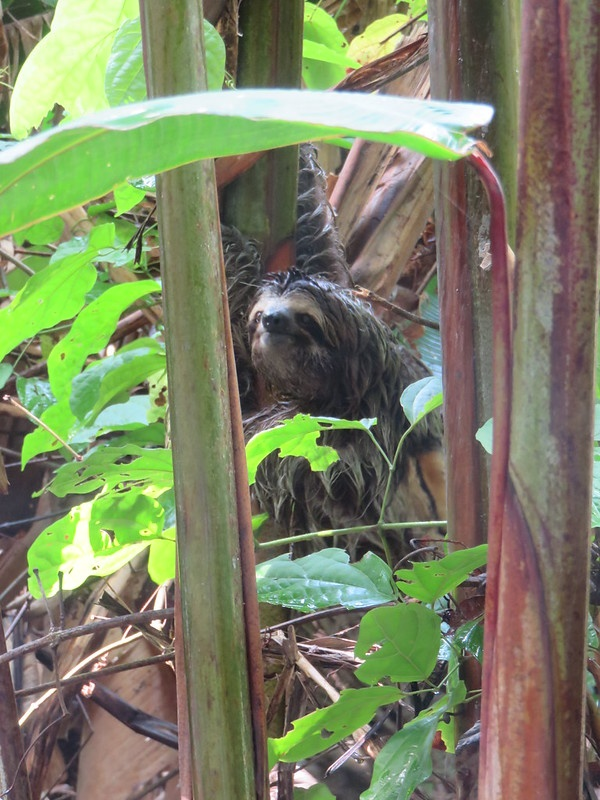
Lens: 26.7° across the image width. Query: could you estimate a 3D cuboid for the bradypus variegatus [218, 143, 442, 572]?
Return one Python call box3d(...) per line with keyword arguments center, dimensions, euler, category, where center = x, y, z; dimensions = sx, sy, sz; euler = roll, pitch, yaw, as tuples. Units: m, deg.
box3d(center=(0.017, -0.057, 1.040), dimensions=(0.121, 0.253, 0.374), euler=(-6, 48, -14), category="bradypus variegatus")
